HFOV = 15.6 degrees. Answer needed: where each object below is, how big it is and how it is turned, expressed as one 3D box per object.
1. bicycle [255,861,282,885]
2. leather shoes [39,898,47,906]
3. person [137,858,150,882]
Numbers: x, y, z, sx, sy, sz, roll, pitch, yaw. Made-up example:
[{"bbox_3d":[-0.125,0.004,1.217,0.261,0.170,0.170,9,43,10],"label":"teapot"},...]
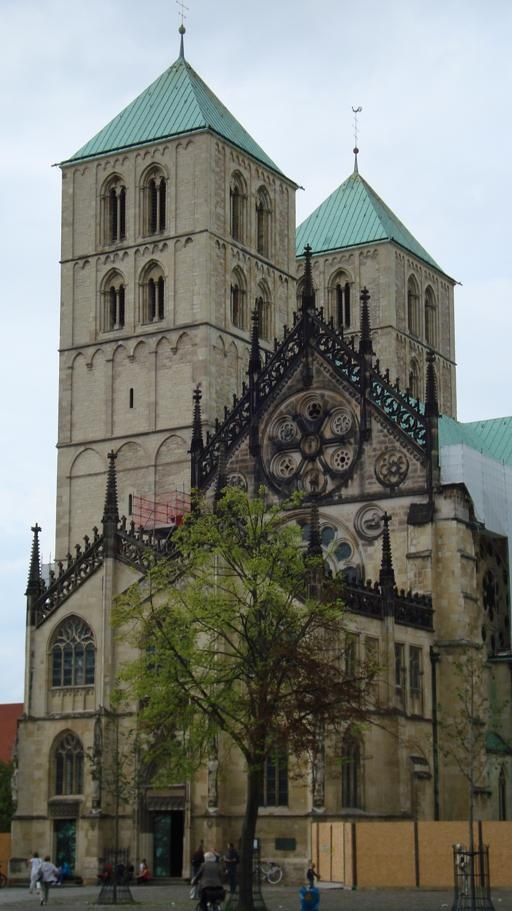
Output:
[{"bbox_3d":[0.377,11.364,50.858,0.750,0.595,0.469,-10,-12,42],"label":"bicycle"},{"bbox_3d":[-5.043,10.637,44.564,0.106,0.180,0.368,0,-7,2],"label":"leather shoes"},{"bbox_3d":[-3.255,12.135,54.705,0.384,0.625,1.243,-1,-9,-3],"label":"person"}]
